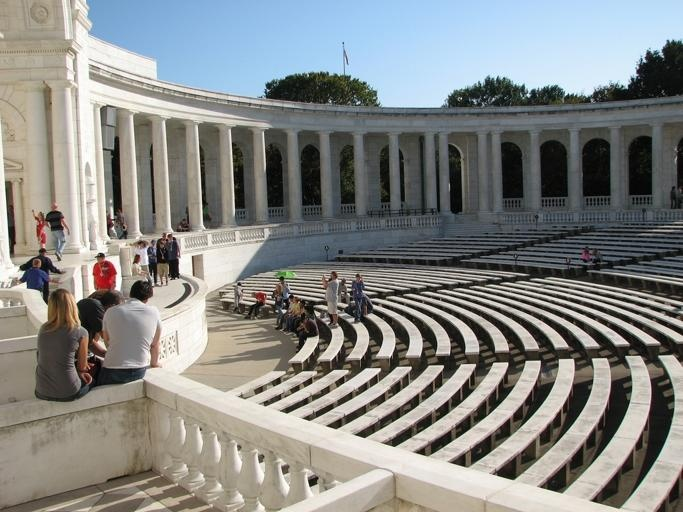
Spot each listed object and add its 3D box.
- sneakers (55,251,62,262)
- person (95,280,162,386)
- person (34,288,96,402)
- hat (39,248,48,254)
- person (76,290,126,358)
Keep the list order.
[{"bbox_3d":[-13.286,0.021,31.689,0.136,0.431,0.183,-16,21,-12],"label":"sneakers"},{"bbox_3d":[-3.892,1.574,12.489,1.058,1.896,0.892,8,0,-15],"label":"person"},{"bbox_3d":[-4.790,1.578,11.750,0.939,2.033,0.504,8,-1,-25],"label":"person"},{"bbox_3d":[-12.418,-0.214,28.101,0.185,0.217,0.212,17,15,-17],"label":"hat"},{"bbox_3d":[-4.470,1.313,12.574,0.854,1.545,0.701,4,16,-36],"label":"person"}]
